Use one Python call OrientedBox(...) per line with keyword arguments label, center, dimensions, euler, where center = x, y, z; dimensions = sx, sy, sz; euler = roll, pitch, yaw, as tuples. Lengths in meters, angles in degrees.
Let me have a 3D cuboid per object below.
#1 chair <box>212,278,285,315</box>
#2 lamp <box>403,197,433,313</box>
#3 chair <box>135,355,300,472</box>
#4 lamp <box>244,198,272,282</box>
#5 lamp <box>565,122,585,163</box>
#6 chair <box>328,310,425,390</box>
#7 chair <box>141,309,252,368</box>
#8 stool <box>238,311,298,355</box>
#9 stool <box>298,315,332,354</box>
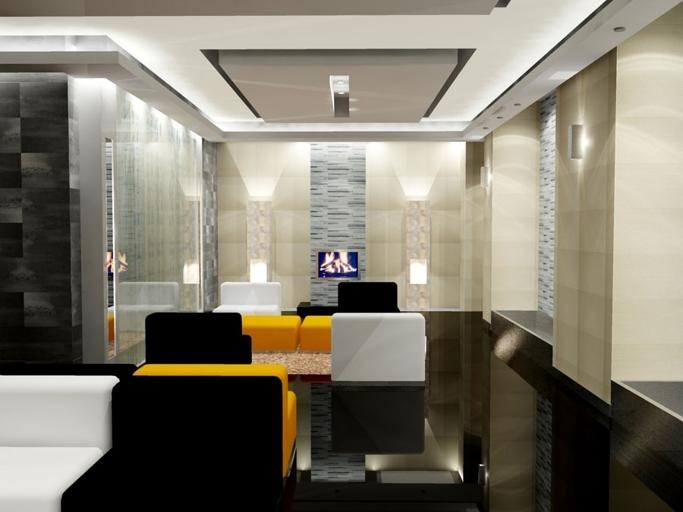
OrientedBox(label="chair", center=(-1.514, 0.847, 9.382), dimensions=(1.205, 0.770, 0.638), euler=(0, 0, -11))
OrientedBox(label="lamp", center=(1.545, -0.009, 11.069), dimensions=(0.457, 2.203, 0.413), euler=(0, 10, 1))
OrientedBox(label="chair", center=(-0.994, 1.153, 4.608), dimensions=(1.073, 0.657, 1.073), euler=(1, -3, 0))
OrientedBox(label="lamp", center=(-1.673, -0.324, 11.156), dimensions=(0.472, 1.584, 0.419), euler=(-2, 10, -10))
OrientedBox(label="lamp", center=(2.679, -1.313, 6.264), dimensions=(0.228, 0.399, 0.152), euler=(9, 14, 41))
OrientedBox(label="chair", center=(0.343, 1.146, 6.786), dimensions=(1.212, 0.867, 0.687), euler=(2, -9, -15))
OrientedBox(label="chair", center=(-1.752, 1.060, 6.332), dimensions=(1.309, 0.769, 0.675), euler=(6, -11, -44))
OrientedBox(label="stool", center=(-0.938, 1.136, 7.834), dimensions=(0.797, 0.335, 0.593), euler=(-2, 2, 18))
OrientedBox(label="stool", center=(-0.357, 1.093, 7.779), dimensions=(0.546, 0.370, 0.548), euler=(0, 4, 1))
